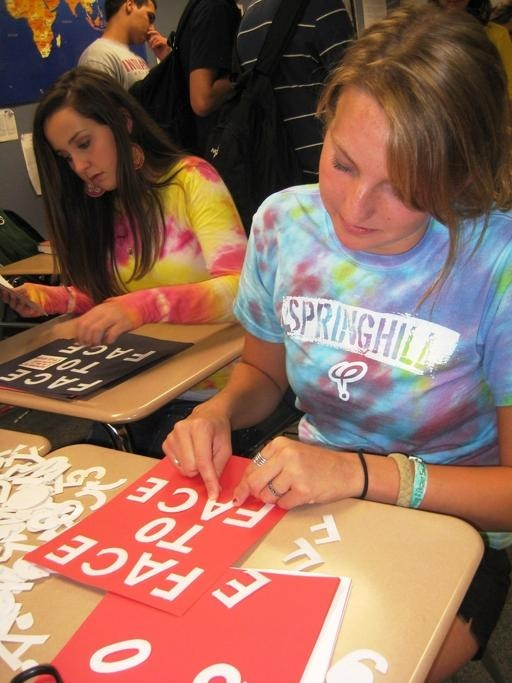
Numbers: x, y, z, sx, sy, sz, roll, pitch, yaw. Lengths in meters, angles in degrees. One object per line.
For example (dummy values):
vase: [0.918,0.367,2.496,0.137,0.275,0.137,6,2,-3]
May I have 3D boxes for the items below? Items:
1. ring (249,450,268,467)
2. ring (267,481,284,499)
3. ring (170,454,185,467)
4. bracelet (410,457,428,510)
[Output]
ring: [0.003,0.170,0.798,0.015,0.018,0.020,30,48,23]
ring: [0.026,0.198,0.738,0.007,0.019,0.017,-28,32,-15]
ring: [-0.123,0.185,0.858,0.012,0.012,0.012,-7,67,18]
bracelet: [0.238,0.207,0.803,0.015,0.055,0.053,9,-10,-5]
